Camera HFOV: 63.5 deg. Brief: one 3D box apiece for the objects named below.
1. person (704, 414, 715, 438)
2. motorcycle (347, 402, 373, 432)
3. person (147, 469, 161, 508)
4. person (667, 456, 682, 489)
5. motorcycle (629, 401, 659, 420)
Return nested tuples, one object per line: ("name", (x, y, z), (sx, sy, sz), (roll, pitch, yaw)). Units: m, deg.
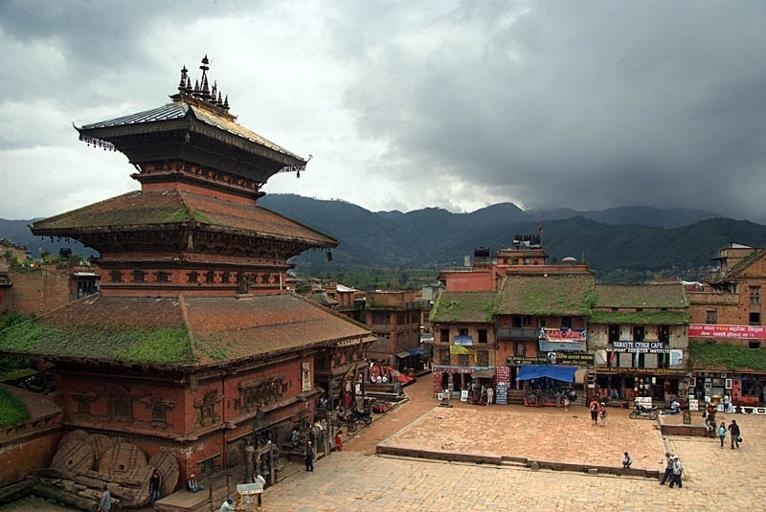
("person", (23.484, 12.114, 44.407), (0.682, 1.319, 1.704), (2, 4, 27))
("motorcycle", (-1.914, 12.222, 46.598), (0.994, 1.196, 2.421), (-4, -9, 20))
("person", (-11.896, 12.009, 32.196), (0.630, 1.669, 0.708), (-2, 5, -19))
("person", (17.104, 12.482, 36.099), (0.710, 1.644, 1.235), (2, 5, 26))
("motorcycle", (20.782, 12.371, 49.412), (2.479, 1.271, 1.095), (1, -13, 9))
